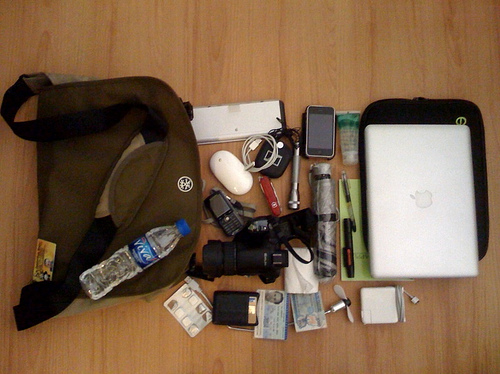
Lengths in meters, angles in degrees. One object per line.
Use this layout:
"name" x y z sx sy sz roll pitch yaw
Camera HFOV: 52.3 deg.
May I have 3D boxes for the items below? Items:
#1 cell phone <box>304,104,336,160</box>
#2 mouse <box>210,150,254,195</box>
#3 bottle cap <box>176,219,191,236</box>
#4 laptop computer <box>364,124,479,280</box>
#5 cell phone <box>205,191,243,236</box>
"cell phone" 0.254 -0.200 1.850 0.111 0.043 0.187 1 81 3
"mouse" -0.031 -0.051 1.864 0.049 0.119 0.183 20 37 25
"bottle cap" -0.213 0.131 1.650 0.027 0.044 0.046 -28 80 -8
"laptop computer" 0.600 0.056 1.779 0.427 0.068 0.721 -2 86 0
"cell phone" -0.089 0.092 1.778 0.071 0.036 0.169 -32 83 3
